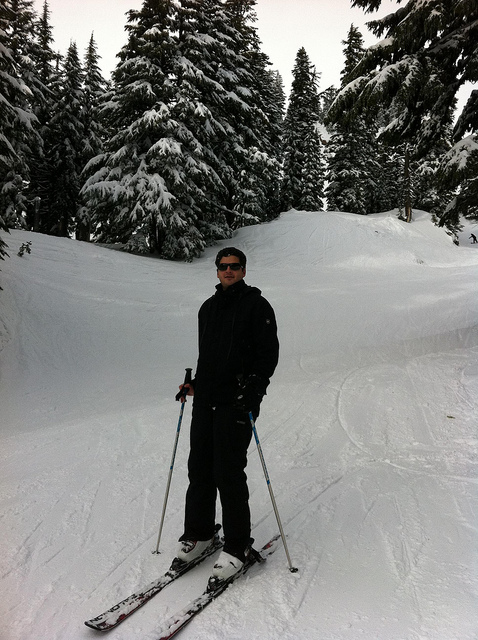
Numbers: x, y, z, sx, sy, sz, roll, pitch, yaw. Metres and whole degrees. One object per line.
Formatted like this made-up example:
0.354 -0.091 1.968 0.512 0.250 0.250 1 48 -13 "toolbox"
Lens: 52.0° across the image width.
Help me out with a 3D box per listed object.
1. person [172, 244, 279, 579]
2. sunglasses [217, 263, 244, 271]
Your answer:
-0.100 0.618 3.633 0.758 2.287 0.793 0 7 11 "person"
-0.074 -0.413 3.794 0.197 0.058 0.099 -1 7 3 "sunglasses"
